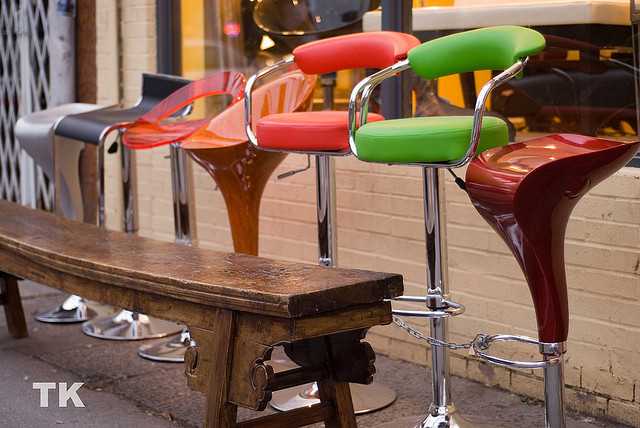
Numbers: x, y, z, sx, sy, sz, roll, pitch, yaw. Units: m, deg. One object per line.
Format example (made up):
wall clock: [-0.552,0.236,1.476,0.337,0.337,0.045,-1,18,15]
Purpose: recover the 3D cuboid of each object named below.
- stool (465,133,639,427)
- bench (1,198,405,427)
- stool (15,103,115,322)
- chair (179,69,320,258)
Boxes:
stool: [0.786,0.230,2.441,0.522,0.980,0.314,-5,14,-15]
bench: [-0.483,0.447,2.581,1.524,0.618,0.437,8,17,31]
stool: [-1.406,-0.020,4.234,0.721,1.321,0.686,5,-8,-30]
chair: [-0.348,0.007,3.347,0.580,1.264,0.679,0,7,11]
